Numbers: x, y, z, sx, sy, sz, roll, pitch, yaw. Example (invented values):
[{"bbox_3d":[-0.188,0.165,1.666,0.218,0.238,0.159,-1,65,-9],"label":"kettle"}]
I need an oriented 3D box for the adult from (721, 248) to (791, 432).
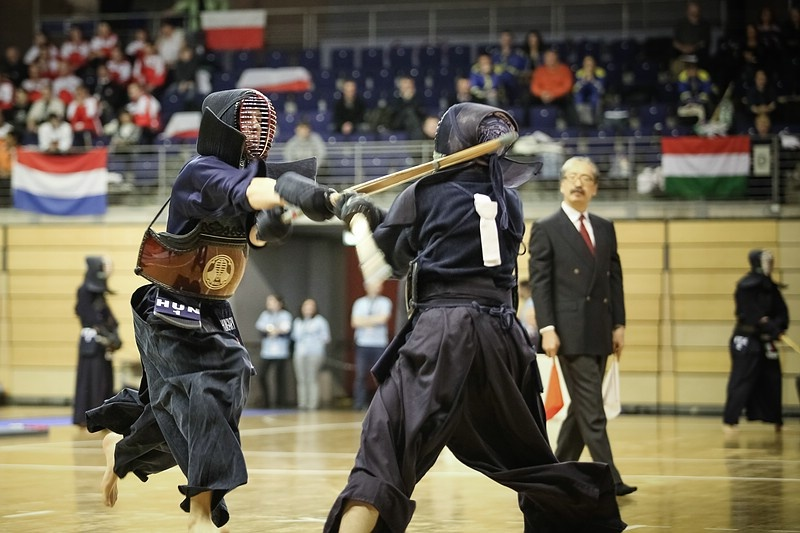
[{"bbox_3d":[5.684,1.201,22.800,1.027,2.873,0.634,0,4,6],"label":"adult"}]

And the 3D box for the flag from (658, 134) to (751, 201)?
[{"bbox_3d":[5.430,-1.715,25.253,1.314,0.854,0.209,2,5,24],"label":"flag"}]
